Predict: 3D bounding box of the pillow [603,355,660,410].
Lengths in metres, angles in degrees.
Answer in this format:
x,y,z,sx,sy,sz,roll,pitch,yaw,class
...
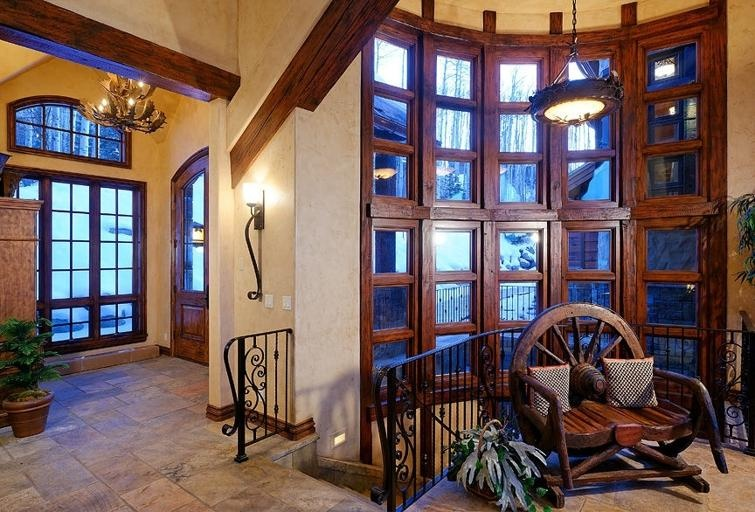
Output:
x,y,z,sx,sy,sz,roll,pitch,yaw,class
2.814,1.422,5.806,0.539,0.511,0.181,0,-6,1,pillow

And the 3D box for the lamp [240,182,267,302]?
x,y,z,sx,sy,sz,roll,pitch,yaw,class
-1.570,-0.166,6.413,0.375,1.420,0.249,-5,-4,39,lamp
